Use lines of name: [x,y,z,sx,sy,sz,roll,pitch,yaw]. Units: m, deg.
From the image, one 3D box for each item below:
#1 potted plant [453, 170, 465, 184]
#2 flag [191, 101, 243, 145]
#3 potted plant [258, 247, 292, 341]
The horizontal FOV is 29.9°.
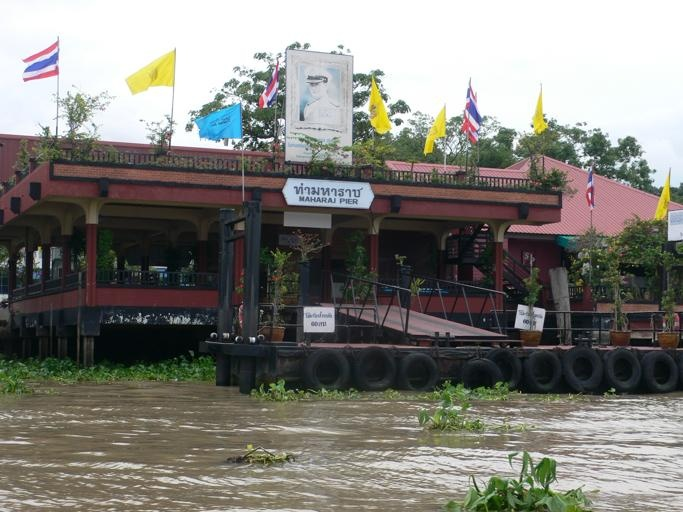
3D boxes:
potted plant: [4.268,-2.949,46.644,0.484,0.744,0.486,-1,4,-22]
flag: [-3.956,-4.325,41.067,1.129,1.449,1.698,4,-9,-21]
potted plant: [-2.178,1.302,41.787,0.968,3.521,0.848,-2,1,-17]
